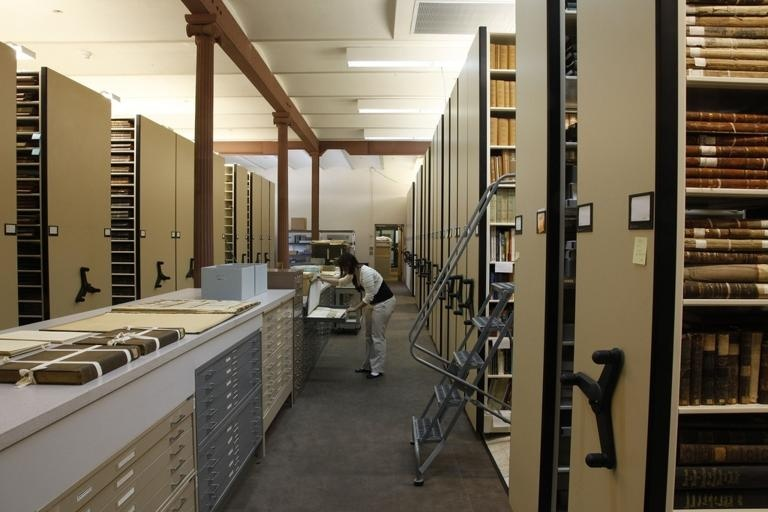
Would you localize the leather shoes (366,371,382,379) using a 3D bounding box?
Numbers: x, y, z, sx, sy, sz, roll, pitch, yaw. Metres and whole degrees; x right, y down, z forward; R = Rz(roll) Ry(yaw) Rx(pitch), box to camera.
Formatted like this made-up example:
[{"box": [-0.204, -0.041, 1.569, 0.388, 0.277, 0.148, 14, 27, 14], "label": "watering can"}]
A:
[{"box": [-0.101, 1.332, 6.979, 0.183, 0.082, 0.063, 3, -3, -20], "label": "leather shoes"}]
